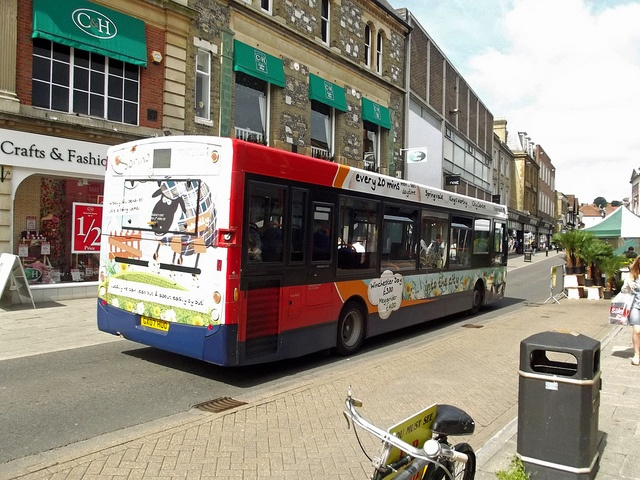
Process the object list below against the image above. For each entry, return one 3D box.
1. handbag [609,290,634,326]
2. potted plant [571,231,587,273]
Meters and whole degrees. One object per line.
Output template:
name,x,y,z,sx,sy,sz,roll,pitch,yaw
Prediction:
handbag,5.515,1.247,8.588,0.141,0.562,0.364,16,-14,-21
potted plant,10.474,0.486,19.301,0.745,1.633,0.861,1,0,-28
